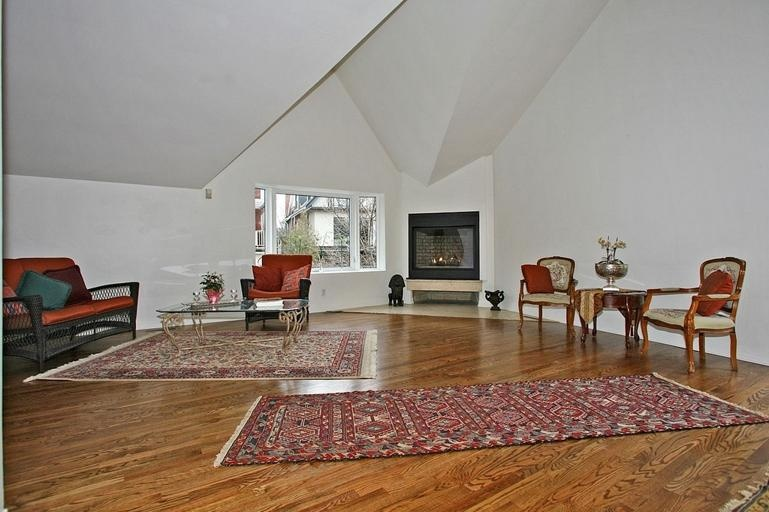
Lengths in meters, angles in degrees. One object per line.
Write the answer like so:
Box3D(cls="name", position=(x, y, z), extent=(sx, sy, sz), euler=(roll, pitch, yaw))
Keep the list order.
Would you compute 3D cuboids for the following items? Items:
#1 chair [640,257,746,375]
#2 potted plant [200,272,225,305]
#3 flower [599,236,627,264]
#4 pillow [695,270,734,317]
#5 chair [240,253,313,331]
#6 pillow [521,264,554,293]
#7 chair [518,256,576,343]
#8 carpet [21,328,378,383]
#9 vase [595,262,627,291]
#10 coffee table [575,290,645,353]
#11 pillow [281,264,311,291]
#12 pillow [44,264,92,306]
Box3D(cls="chair", position=(3.358, 0.606, 5.225), extent=(0.989, 1.144, 0.992), euler=(1, 0, -33))
Box3D(cls="potted plant", position=(-2.305, 0.444, 6.258), extent=(0.386, 0.442, 0.388), euler=(2, -9, -4))
Box3D(cls="flower", position=(3.059, -0.078, 6.364), extent=(0.418, 0.414, 0.358), euler=(1, 0, -12))
Box3D(cls="pillow", position=(3.613, 0.370, 5.185), extent=(0.306, 0.491, 0.579), euler=(0, 16, 28))
Box3D(cls="chair", position=(-1.620, 0.507, 7.330), extent=(1.261, 1.070, 1.209), euler=(-1, -2, -43))
Box3D(cls="pillow", position=(2.210, 0.349, 6.842), extent=(0.427, 0.396, 0.164), euler=(3, -20, -6))
Box3D(cls="chair", position=(2.366, 0.646, 6.785), extent=(1.130, 1.339, 0.798), euler=(-1, -5, 30))
Box3D(cls="carpet", position=(-1.772, 1.146, 5.549), extent=(3.362, 0.188, 1.749), euler=(0, 11, 0))
Box3D(cls="vase", position=(2.884, 0.294, 6.125), extent=(0.408, 0.363, 0.366), euler=(1, -10, 9))
Box3D(cls="coffee table", position=(2.893, 0.783, 6.066), extent=(0.880, 0.710, 0.855), euler=(-2, 2, -21))
Box3D(cls="pillow", position=(-1.381, 0.376, 7.376), extent=(0.390, 0.352, 0.116), euler=(-9, -37, 35))
Box3D(cls="pillow", position=(-3.845, 0.361, 5.815), extent=(0.136, 0.449, 0.454), euler=(-10, 4, 45))
